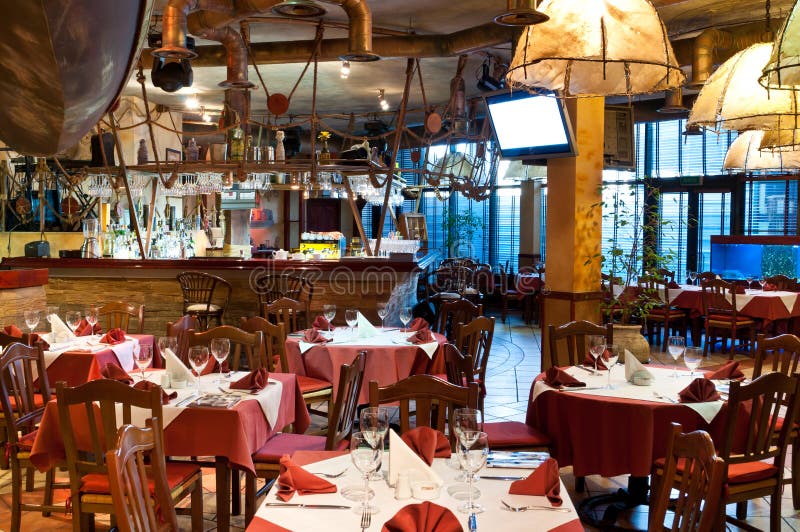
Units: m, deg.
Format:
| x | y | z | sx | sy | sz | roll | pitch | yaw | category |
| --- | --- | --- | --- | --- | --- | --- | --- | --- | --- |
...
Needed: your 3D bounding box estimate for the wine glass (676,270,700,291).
| x | y | z | sx | sy | sz | roll | pitch | yaw | category |
| --- | --- | --- | --- | --- | --- | --- | --- | --- | --- |
| 4.838 | 0.230 | 14.334 | 0.161 | 0.314 | 0.309 | 1 | 2 | 3 | wine glass |
